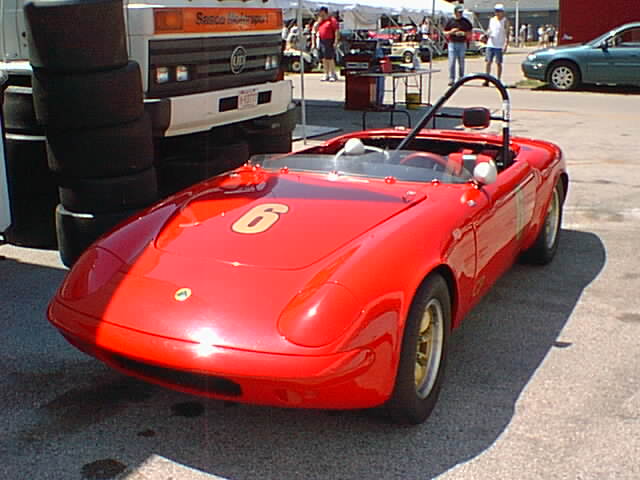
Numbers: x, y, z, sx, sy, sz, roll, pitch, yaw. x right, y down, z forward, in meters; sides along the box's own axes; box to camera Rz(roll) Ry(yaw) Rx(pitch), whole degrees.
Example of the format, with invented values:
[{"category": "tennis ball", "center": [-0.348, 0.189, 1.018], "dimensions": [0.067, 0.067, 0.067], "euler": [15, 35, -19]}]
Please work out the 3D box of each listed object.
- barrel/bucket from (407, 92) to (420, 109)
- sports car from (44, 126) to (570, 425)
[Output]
[{"category": "barrel/bucket", "center": [2.158, -3.223, 12.508], "dimensions": [0.477, 0.359, 0.241], "euler": [-14, 25, -27]}, {"category": "sports car", "center": [0.346, -0.022, 3.276], "dimensions": [1.403, 0.888, 2.960], "euler": [11, 23, 30]}]
